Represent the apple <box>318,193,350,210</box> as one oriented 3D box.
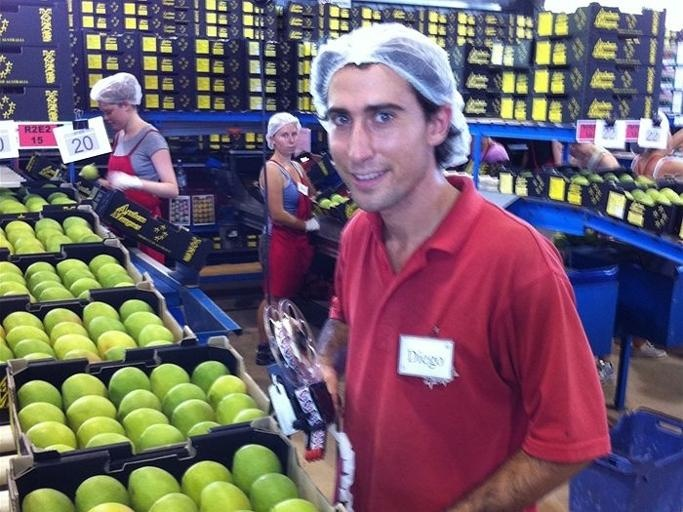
[{"bbox_3d":[-0.096,-0.548,5.149,0.209,0.083,0.207,-16,14,26],"label":"apple"}]
